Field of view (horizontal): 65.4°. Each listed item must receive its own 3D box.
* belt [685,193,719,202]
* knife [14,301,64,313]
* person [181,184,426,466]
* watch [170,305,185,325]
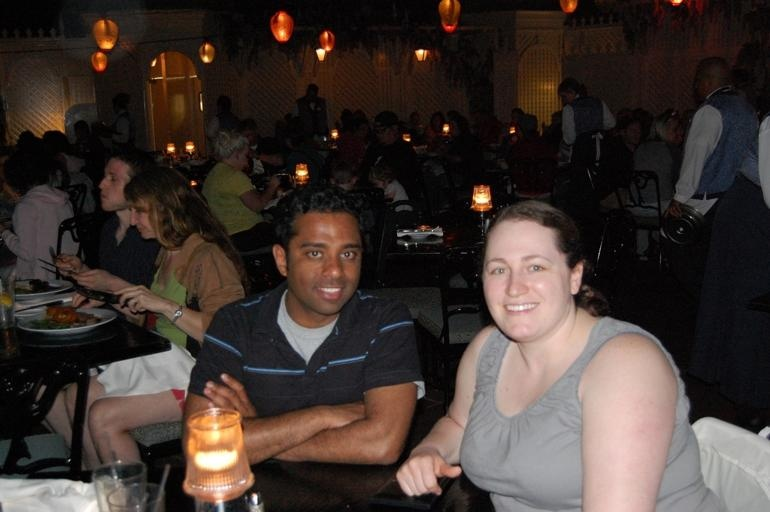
[{"bbox_3d":[2.457,-0.459,4.617,0.256,0.021,0.177,-1,-16,35],"label":"belt"},{"bbox_3d":[-1.916,0.279,3.296,0.292,0.020,0.035,-12,50,-41],"label":"knife"},{"bbox_3d":[-0.363,0.272,2.367,1.029,0.965,0.712,0,8,-19],"label":"person"},{"bbox_3d":[-1.056,0.298,3.050,0.062,0.089,0.083,29,-25,-4],"label":"watch"}]
